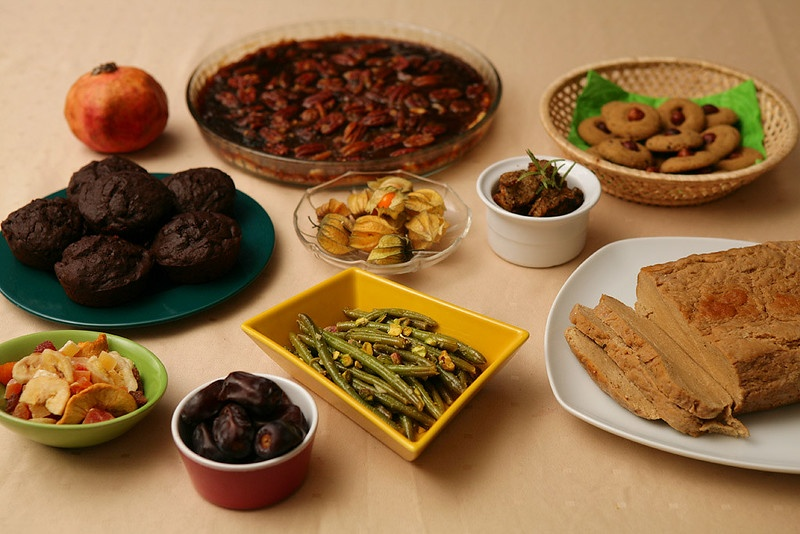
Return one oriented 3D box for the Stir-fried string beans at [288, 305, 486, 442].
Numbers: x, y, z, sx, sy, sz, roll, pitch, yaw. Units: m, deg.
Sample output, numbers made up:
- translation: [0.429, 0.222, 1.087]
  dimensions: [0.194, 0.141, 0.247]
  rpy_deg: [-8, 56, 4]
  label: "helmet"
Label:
- translation: [-0.055, 0.262, 2.188]
  dimensions: [0.585, 0.136, 0.390]
  rpy_deg: [29, 64, 27]
  label: "Stir-fried string beans"
